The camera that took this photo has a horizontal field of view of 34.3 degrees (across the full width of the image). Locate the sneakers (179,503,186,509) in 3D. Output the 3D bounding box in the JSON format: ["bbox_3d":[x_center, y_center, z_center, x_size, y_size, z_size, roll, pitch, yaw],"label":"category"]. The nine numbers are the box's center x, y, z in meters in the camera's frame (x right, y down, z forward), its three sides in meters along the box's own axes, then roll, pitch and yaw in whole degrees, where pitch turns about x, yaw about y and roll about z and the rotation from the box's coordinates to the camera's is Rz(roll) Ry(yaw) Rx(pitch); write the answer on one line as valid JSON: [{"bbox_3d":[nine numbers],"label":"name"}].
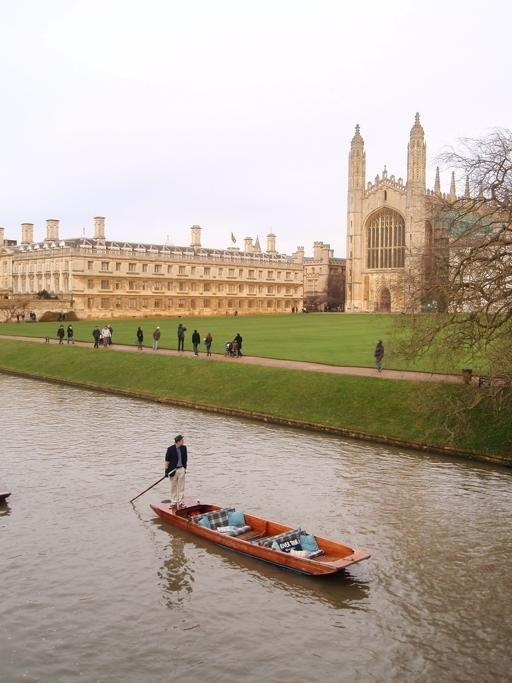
[{"bbox_3d":[-1.793,4.023,20.225,0.117,0.107,0.289,-2,-1,-13],"label":"sneakers"}]

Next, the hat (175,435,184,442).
[{"bbox_3d":[-1.867,2.360,20.152,0.195,0.178,0.148,-18,19,-3],"label":"hat"}]

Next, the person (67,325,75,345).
[{"bbox_3d":[-13.406,-0.503,59.933,0.427,1.272,1.887,-2,8,-13],"label":"person"}]
